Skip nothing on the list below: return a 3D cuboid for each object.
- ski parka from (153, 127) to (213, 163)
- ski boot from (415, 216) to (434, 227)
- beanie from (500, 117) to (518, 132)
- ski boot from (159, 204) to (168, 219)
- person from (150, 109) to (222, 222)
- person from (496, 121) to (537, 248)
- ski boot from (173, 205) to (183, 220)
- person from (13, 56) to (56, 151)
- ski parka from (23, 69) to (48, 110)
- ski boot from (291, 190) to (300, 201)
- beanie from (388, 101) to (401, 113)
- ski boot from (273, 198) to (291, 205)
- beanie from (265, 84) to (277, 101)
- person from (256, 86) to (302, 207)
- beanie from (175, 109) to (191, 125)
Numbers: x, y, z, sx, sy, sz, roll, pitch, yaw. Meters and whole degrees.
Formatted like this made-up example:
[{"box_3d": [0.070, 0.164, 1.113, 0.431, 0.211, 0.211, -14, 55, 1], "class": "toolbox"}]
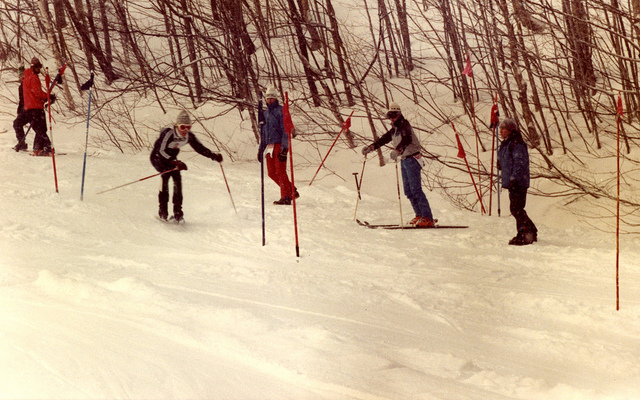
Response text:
[{"box_3d": [-2.945, -1.145, 15.820, 1.104, 0.705, 0.315, -5, 11, -14], "class": "ski parka"}, {"box_3d": [2.356, 0.504, 17.117, 0.393, 0.248, 0.063, -3, 11, -4], "class": "ski boot"}, {"box_3d": [4.135, -1.646, 16.576, 0.328, 0.327, 0.265, 10, 31, 32], "class": "beanie"}, {"box_3d": [-3.308, 0.255, 15.941, 0.174, 0.275, 0.109, -2, 12, -7], "class": "ski boot"}, {"box_3d": [-2.950, -0.673, 15.864, 1.172, 2.290, 0.691, -5, 11, -13], "class": "person"}, {"box_3d": [4.246, -0.326, 16.411, 0.787, 2.654, 0.522, 4, 13, 31], "class": "person"}, {"box_3d": [-3.008, 0.260, 15.968, 0.189, 0.313, 0.130, -4, 11, -11], "class": "ski boot"}, {"box_3d": [-6.779, -2.197, 17.812, 0.830, 2.126, 0.366, 0, 11, 12], "class": "person"}, {"box_3d": [-6.693, -2.534, 17.672, 0.563, 0.918, 0.359, -4, 11, -7], "class": "ski parka"}, {"box_3d": [-0.571, -0.088, 16.852, 0.071, 0.250, 0.261, -1, 2, -30], "class": "ski boot"}, {"box_3d": [1.647, -2.030, 16.807, 0.203, 0.195, 0.305, 0, -4, 5], "class": "beanie"}, {"box_3d": [-0.893, 0.052, 17.513, 0.409, 0.174, 0.132, 2, 3, -5], "class": "ski boot"}, {"box_3d": [-1.132, -2.456, 17.353, 0.262, 0.328, 0.341, 0, 4, -4], "class": "beanie"}, {"box_3d": [-0.981, -1.173, 17.334, 0.769, 2.689, 0.503, 7, 14, 39], "class": "person"}, {"box_3d": [-2.820, -1.673, 15.641, 0.207, 0.230, 0.288, -1, 4, -20], "class": "beanie"}]
